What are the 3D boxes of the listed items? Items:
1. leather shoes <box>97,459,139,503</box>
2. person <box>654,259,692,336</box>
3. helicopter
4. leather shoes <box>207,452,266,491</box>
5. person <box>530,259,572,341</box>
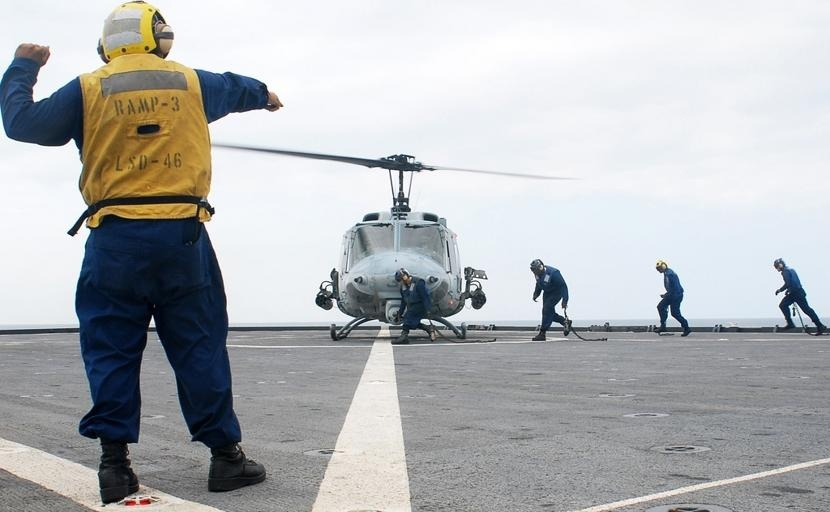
[{"bbox_3d":[-1.523,1.149,3.606,0.119,0.166,0.264,0,1,-3],"label":"leather shoes"},{"bbox_3d":[6.680,1.095,18.583,0.909,1.857,0.854,5,-6,-34],"label":"person"},{"bbox_3d":[-0.542,-0.287,17.275,4.353,3.954,7.645,0,-1,-2],"label":"helicopter"},{"bbox_3d":[-0.960,1.141,3.807,0.299,0.201,0.118,0,-3,-10],"label":"leather shoes"},{"bbox_3d":[3.183,1.045,16.938,1.412,1.850,1.094,-6,5,-40],"label":"person"}]
